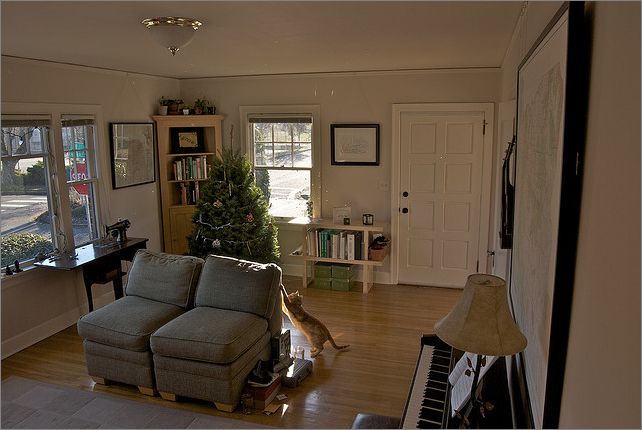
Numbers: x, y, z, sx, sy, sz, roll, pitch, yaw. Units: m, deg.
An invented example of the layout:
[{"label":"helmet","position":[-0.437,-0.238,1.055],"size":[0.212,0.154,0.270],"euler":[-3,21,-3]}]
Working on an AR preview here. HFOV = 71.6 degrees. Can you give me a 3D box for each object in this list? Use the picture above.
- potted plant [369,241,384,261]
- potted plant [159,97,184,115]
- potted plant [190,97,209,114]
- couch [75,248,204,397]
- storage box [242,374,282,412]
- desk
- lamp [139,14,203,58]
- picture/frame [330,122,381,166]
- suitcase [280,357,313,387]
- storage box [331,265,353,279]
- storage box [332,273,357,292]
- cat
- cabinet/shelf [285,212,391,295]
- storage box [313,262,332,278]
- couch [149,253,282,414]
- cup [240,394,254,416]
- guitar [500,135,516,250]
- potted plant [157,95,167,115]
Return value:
[{"label":"potted plant","position":[0.806,0.532,6.357],"size":[0.228,0.221,0.201],"euler":[2,14,10]},{"label":"potted plant","position":[-2.267,-1.640,6.722],"size":[0.323,0.218,0.295],"euler":[0,8,-20]},{"label":"potted plant","position":[-1.863,-1.673,6.930],"size":[0.275,0.280,0.281],"euler":[2,6,-4]},{"label":"couch","position":[-1.716,1.026,4.512],"size":[0.820,1.106,1.062],"euler":[5,15,20]},{"label":"storage box","position":[-0.558,1.617,3.980],"size":[0.236,0.158,0.351],"euler":[3,7,15]},{"label":"desk","position":[-2.673,0.569,5.343],"size":[0.571,0.282,1.255],"euler":[4,12,16]},{"label":"lamp","position":[-1.248,-1.477,3.748],"size":[0.484,0.252,0.494],"euler":[-2,0,0]},{"label":"picture/frame","position":[0.503,-1.035,6.527],"size":[0.733,0.604,0.062],"euler":[0,0,-4]},{"label":"suitcase","position":[-0.296,1.534,4.396],"size":[0.341,0.107,0.335],"euler":[6,19,28]},{"label":"storage box","position":[0.315,0.810,6.508],"size":[0.214,0.130,0.215],"euler":[2,8,15]},{"label":"storage box","position":[0.339,0.992,6.551],"size":[0.232,0.141,0.233],"euler":[2,5,17]},{"label":"cat","position":[-0.065,1.175,4.712],"size":[0.869,0.565,0.231],"euler":[24,1,2]},{"label":"cabinet/shelf","position":[0.314,0.564,6.533],"size":[1.114,0.748,0.373],"euler":[3,14,18]},{"label":"storage box","position":[0.027,0.800,6.544],"size":[0.215,0.156,0.215],"euler":[1,6,11]},{"label":"couch","position":[-0.881,1.035,4.464],"size":[1.050,1.173,1.315],"euler":[3,11,14]},{"label":"cup","position":[-0.650,1.664,3.920],"size":[0.099,0.169,0.076],"euler":[1,14,5]},{"label":"guitar","position":[1.396,-0.154,3.270],"size":[0.105,0.785,0.312],"euler":[1,-11,23]},{"label":"potted plant","position":[-2.397,-1.662,6.714],"size":[0.163,0.294,0.290],"euler":[-6,15,-19]}]
